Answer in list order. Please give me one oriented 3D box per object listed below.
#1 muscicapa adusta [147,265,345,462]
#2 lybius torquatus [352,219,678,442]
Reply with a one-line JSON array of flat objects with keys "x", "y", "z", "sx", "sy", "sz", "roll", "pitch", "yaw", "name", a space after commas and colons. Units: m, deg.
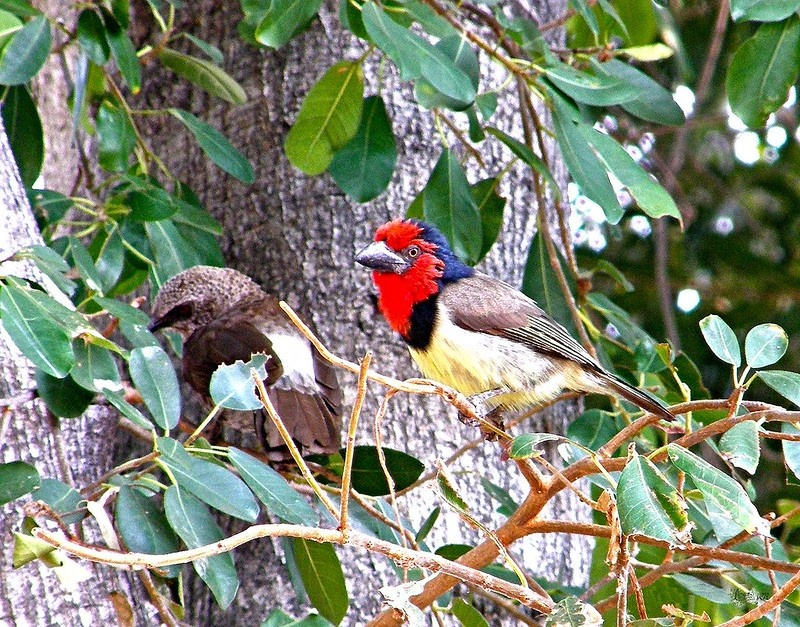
[{"x": -0.583, "y": 0.281, "z": 5.789, "sx": 0.637, "sy": 0.877, "sz": 1.199, "roll": -38, "pitch": 55, "yaw": -15, "name": "muscicapa adusta"}, {"x": 0.594, "y": 0.107, "z": 5.888, "sx": 1.511, "sy": 0.551, "sz": 1.060, "roll": 5, "pitch": 76, "yaw": -11, "name": "lybius torquatus"}]
